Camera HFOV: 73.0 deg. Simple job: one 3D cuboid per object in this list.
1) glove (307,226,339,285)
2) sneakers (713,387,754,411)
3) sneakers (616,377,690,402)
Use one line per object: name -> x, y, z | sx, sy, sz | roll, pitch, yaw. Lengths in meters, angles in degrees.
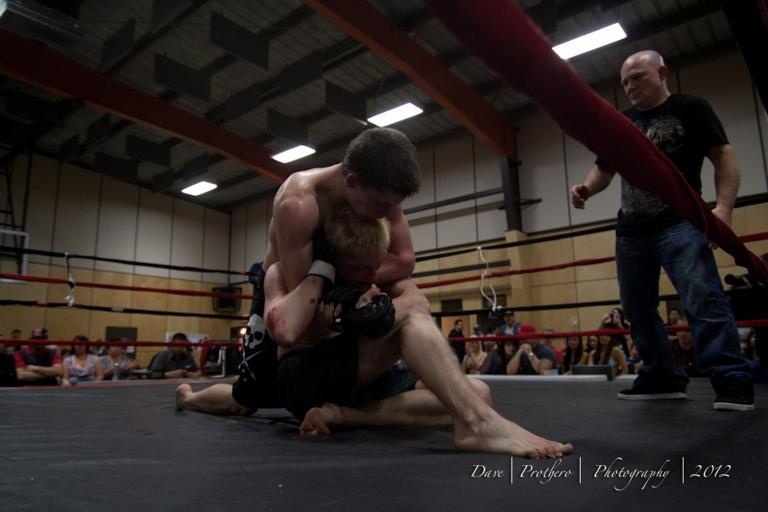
glove -> -0.217, 0.002, 1.816 | 0.082, 0.204, 0.064 | -1, -11, -4
sneakers -> 1.354, 0.549, 1.990 | 0.192, 0.086, 0.068 | 4, -9, -5
sneakers -> 1.230, 0.604, 2.439 | 0.341, 0.150, 0.117 | 2, -12, 14
